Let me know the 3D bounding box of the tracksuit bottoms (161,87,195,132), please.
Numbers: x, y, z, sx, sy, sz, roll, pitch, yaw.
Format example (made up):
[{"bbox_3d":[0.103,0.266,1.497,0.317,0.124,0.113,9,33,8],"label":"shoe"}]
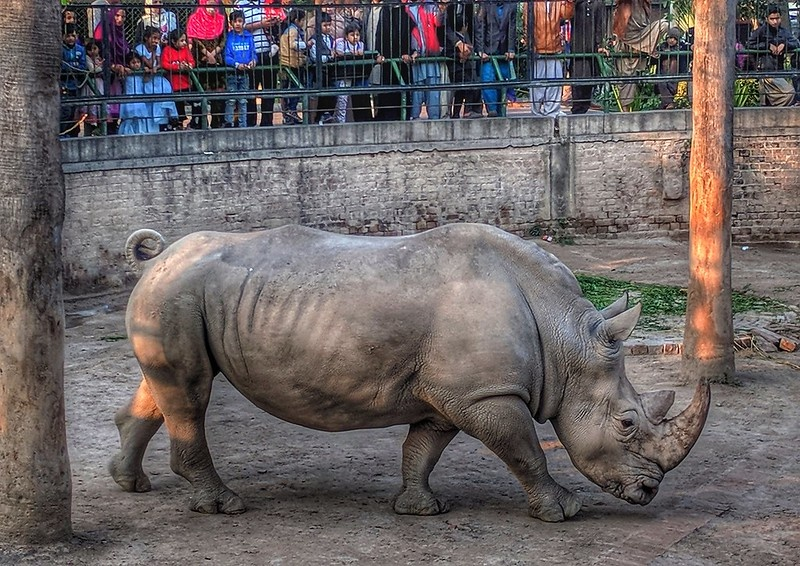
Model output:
[{"bbox_3d":[-3.094,-2.341,20.520,0.583,0.600,0.244,-7,15,-35],"label":"tracksuit bottoms"}]

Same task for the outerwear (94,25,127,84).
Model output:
[{"bbox_3d":[-3.809,-3.130,19.863,0.439,0.879,0.292,-4,-1,20],"label":"outerwear"}]

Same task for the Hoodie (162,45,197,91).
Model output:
[{"bbox_3d":[-3.018,-2.960,20.213,0.487,0.627,0.345,-11,16,-27],"label":"Hoodie"}]

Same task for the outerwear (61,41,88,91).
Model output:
[{"bbox_3d":[-4.277,-2.880,19.585,0.432,0.610,0.204,-7,13,-34],"label":"outerwear"}]

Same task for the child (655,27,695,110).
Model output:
[{"bbox_3d":[4.159,-3.324,22.683,0.818,1.183,0.627,-2,-2,19],"label":"child"}]

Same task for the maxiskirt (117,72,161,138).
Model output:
[{"bbox_3d":[-3.538,-2.418,20.110,0.341,0.772,0.236,5,20,16],"label":"maxiskirt"}]
